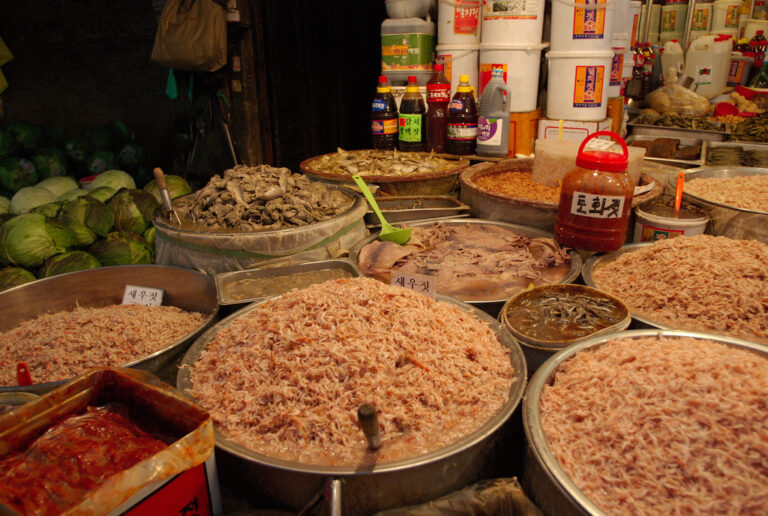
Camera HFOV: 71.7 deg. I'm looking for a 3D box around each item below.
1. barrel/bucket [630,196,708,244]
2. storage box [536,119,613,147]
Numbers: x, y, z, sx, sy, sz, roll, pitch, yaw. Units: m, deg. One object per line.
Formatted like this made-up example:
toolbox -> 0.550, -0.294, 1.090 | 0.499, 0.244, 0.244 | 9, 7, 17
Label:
barrel/bucket -> 1.638, -0.225, 3.006 | 0.335, 0.288, 0.318 | -2, 29, 1
storage box -> 1.403, -0.962, 4.022 | 0.486, 0.249, 0.441 | 2, 17, 8
